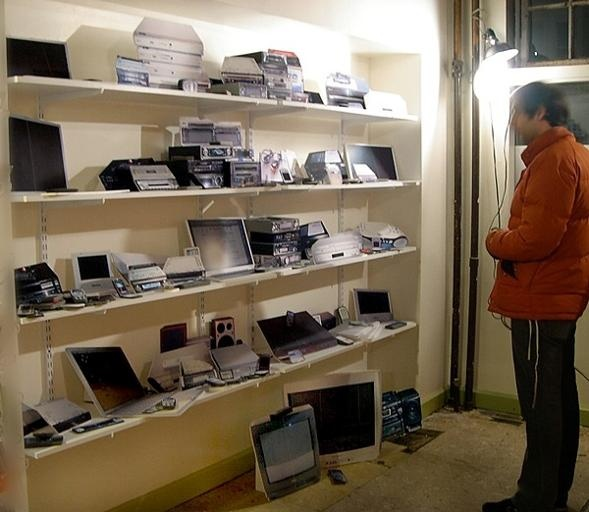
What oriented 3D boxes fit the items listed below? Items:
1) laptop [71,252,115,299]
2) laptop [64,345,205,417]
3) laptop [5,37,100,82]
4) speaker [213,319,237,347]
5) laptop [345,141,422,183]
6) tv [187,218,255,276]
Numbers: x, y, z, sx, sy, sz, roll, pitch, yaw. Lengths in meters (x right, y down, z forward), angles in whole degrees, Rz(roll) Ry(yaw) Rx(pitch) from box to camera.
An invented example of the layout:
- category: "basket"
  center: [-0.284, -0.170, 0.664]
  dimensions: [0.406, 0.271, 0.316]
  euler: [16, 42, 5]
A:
- category: "laptop"
  center: [-0.887, 0.091, 2.188]
  dimensions: [0.175, 0.245, 0.023]
  euler: [-3, -12, -41]
- category: "laptop"
  center: [-0.775, 0.582, 2.249]
  dimensions: [0.355, 0.239, 0.395]
  euler: [-2, 3, 18]
- category: "laptop"
  center: [-0.985, -0.763, 1.921]
  dimensions: [0.215, 0.165, 0.048]
  euler: [-3, 3, -33]
- category: "speaker"
  center: [-0.398, 0.439, 2.806]
  dimensions: [0.126, 0.223, 0.071]
  euler: [-6, 6, -42]
- category: "laptop"
  center: [0.642, -0.665, 3.572]
  dimensions: [0.348, 0.189, 0.171]
  euler: [-4, 2, -40]
- category: "tv"
  center: [-0.406, -0.037, 2.656]
  dimensions: [0.026, 0.213, 0.271]
  euler: [-20, -3, 41]
